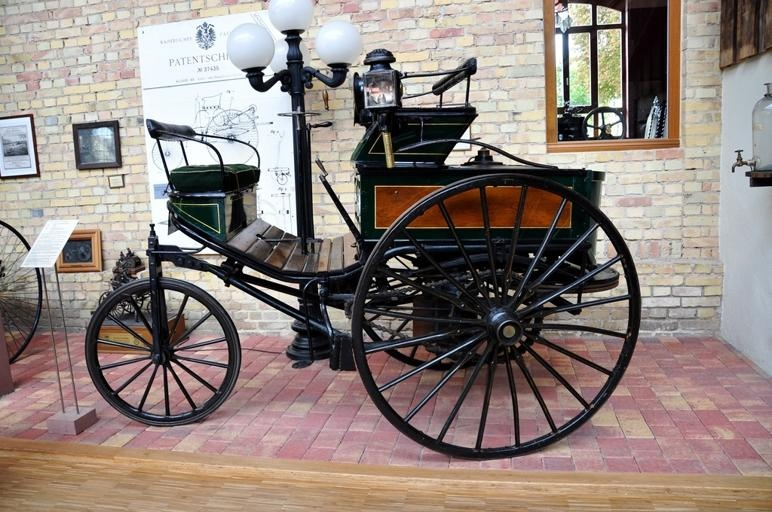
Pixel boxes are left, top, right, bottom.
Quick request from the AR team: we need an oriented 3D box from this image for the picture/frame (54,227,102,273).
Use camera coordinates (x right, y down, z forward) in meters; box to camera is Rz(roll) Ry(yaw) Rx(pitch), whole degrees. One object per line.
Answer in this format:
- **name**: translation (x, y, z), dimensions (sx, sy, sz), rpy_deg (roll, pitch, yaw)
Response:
- **picture/frame**: translation (-2.968, -0.052, 6.348), dimensions (0.634, 0.397, 0.050), rpy_deg (-2, -1, 27)

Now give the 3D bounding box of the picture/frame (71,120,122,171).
- **picture/frame**: translation (-2.704, -1.045, 6.167), dimensions (0.753, 0.456, 0.040), rpy_deg (3, 10, 12)
